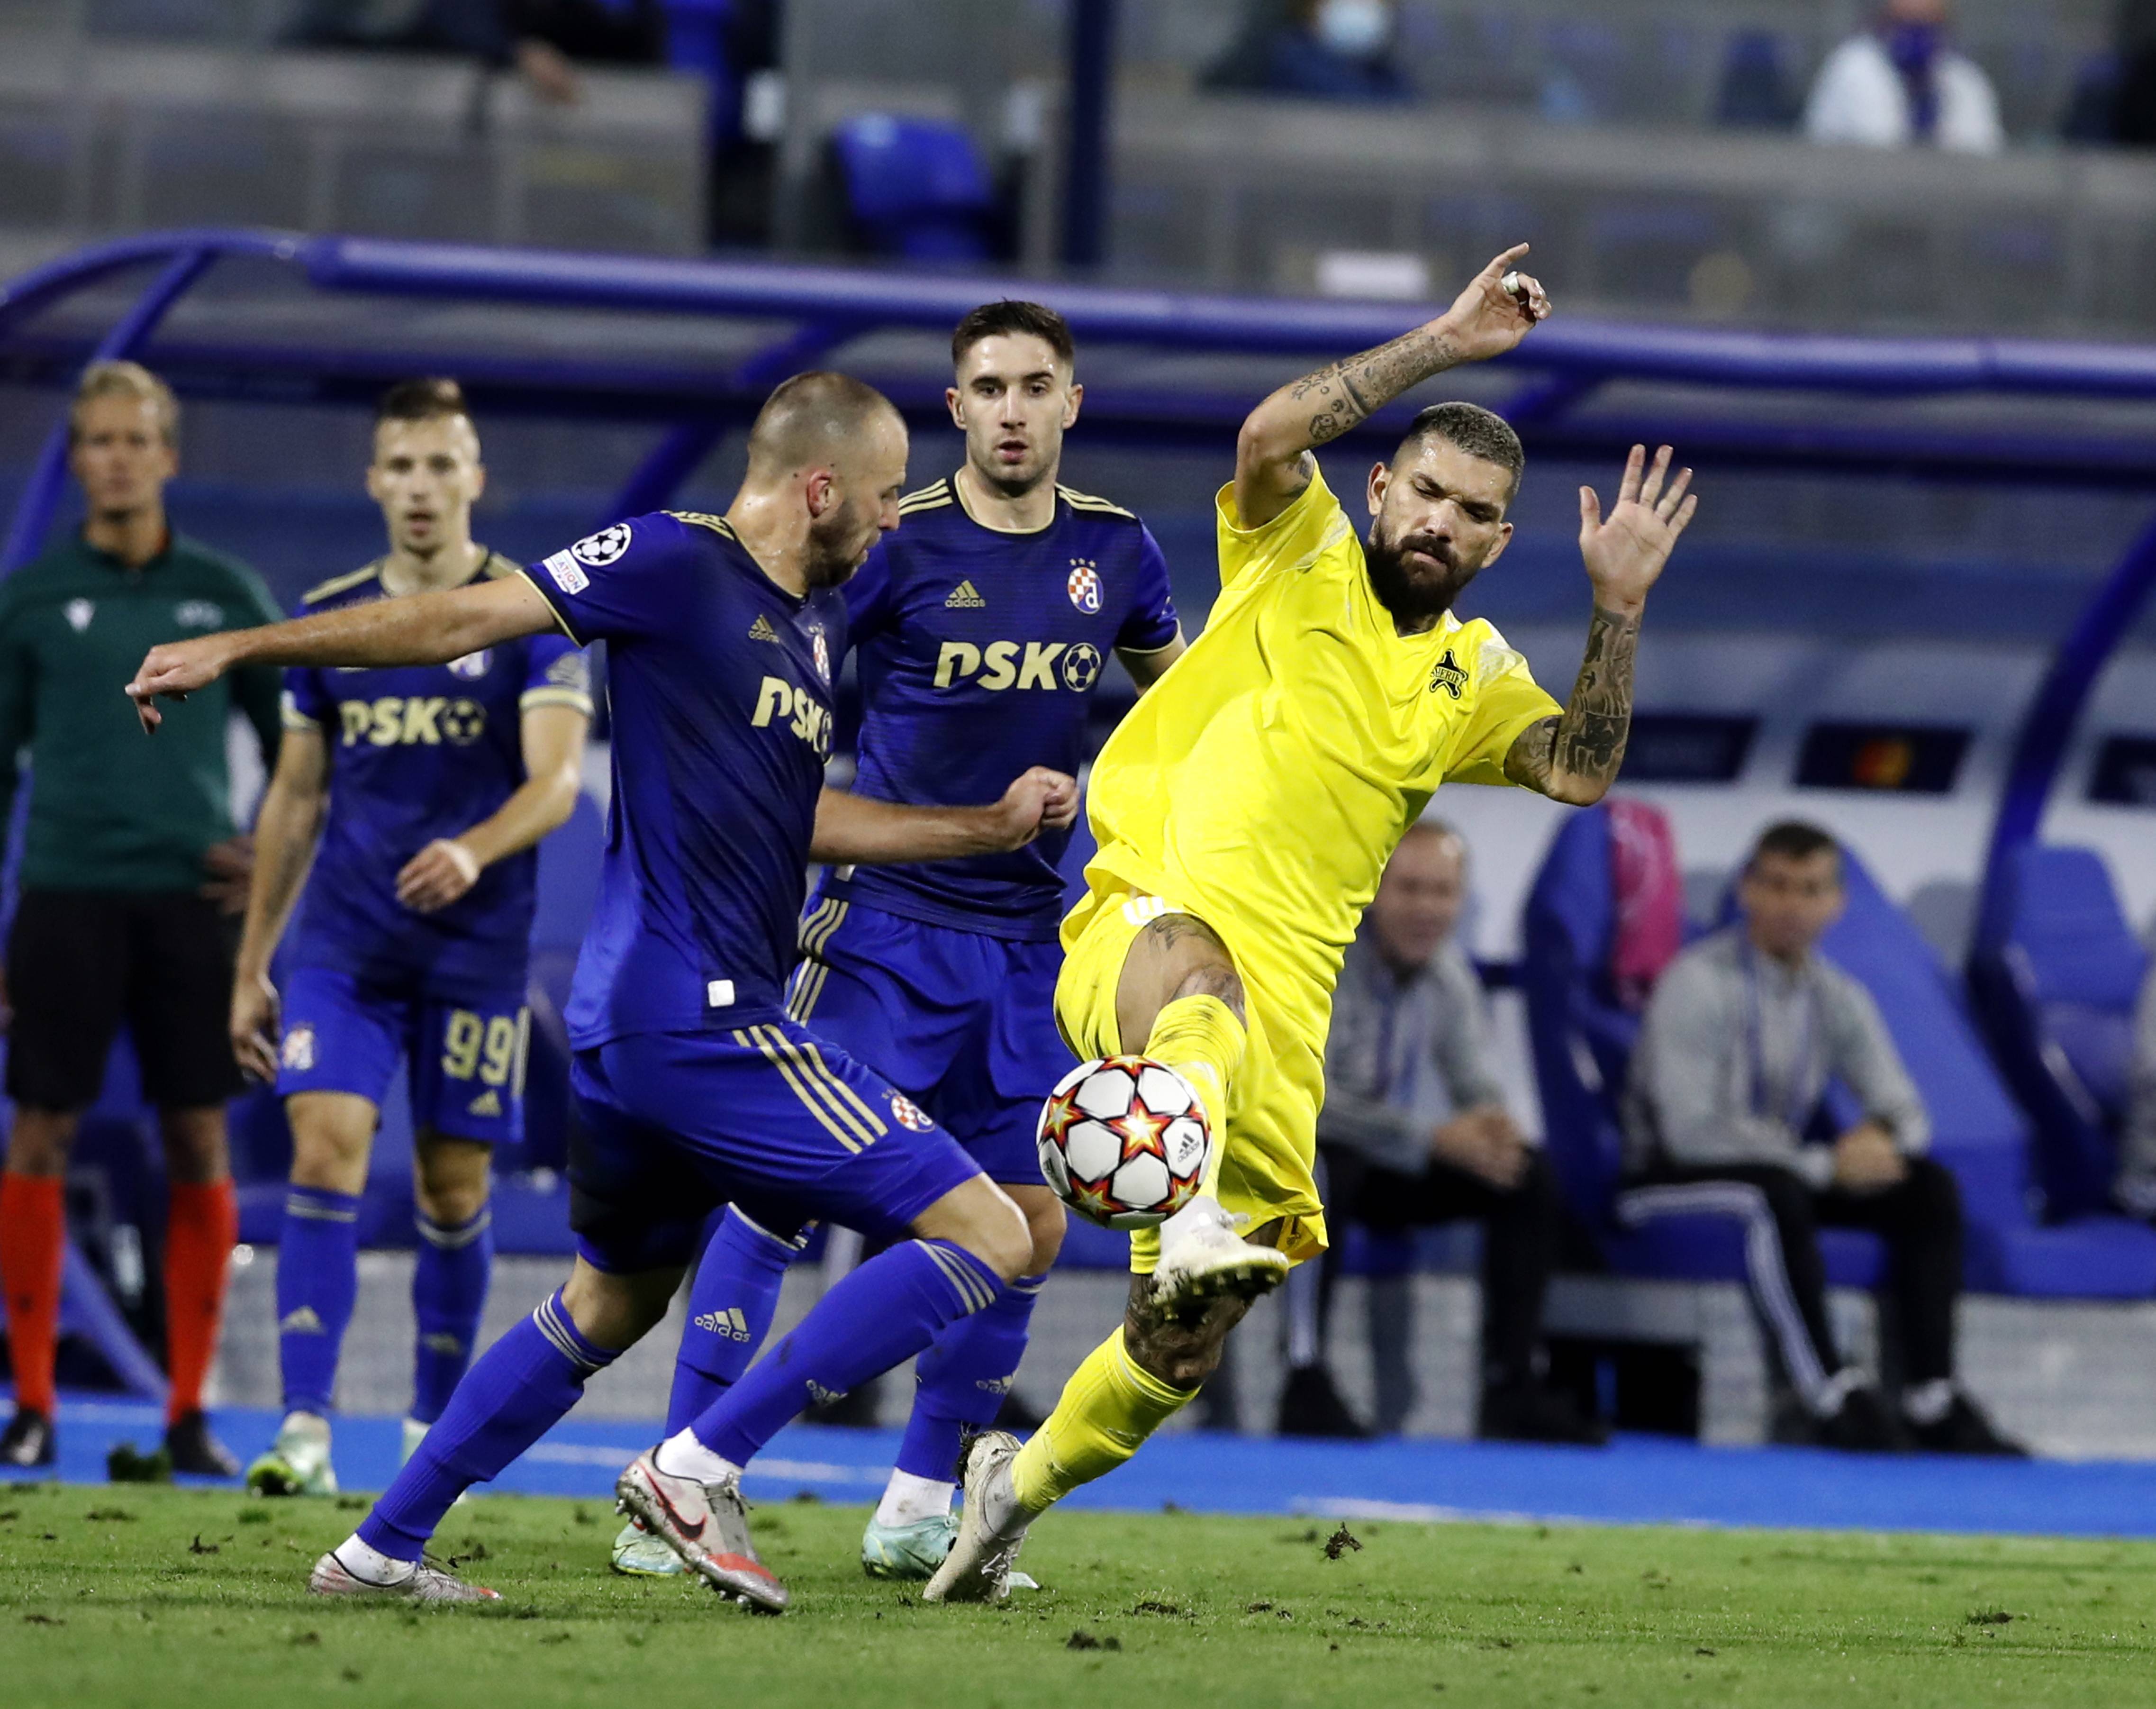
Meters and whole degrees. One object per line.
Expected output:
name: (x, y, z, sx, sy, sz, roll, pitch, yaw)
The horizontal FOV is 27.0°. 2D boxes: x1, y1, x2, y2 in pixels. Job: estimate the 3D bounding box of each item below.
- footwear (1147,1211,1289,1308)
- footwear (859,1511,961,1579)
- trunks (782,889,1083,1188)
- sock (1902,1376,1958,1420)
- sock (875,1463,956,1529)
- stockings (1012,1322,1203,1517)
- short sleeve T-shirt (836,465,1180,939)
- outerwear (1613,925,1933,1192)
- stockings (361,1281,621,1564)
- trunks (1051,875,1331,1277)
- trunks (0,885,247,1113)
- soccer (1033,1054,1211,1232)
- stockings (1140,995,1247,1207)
footwear: (0.378, 1.008, 11.487, 0.356, 0.227, 0.125, 20, -43, -28)
footwear: (-0.478, 1.932, 12.423, 0.201, 0.158, 0.164, 17, -16, -27)
trunks: (-0.419, 0.533, 12.312, 0.571, 0.576, 0.378, 23, -7, -24)
sock: (2.986, 1.929, 15.805, 0.182, 0.164, 0.055, 1, -10, 11)
sock: (-0.445, 1.792, 12.486, 0.159, 0.153, 0.147, 16, -16, 33)
stockings: (0.076, 1.520, 11.833, 0.243, 0.260, 0.795, 27, -51, -10)
short sleeve T-shirt: (-0.212, -0.400, 12.601, 1.124, 1.089, 0.434, 1, 4, -16)
outerwear: (2.506, 0.729, 16.136, 0.770, 1.076, 1.052, 10, -4, -25)
stockings: (-1.699, 1.670, 12.999, 0.200, 0.837, 0.223, 34, -11, 20)
trunks: (0.274, 0.536, 12.084, 0.623, 1.138, 0.369, -6, -9, -23)
trunks: (-3.098, 0.519, 14.641, 0.988, 0.984, 0.578, 2, -7, -25)
soccer: (0.100, 0.722, 11.628, 0.419, 0.483, 0.442, -9, 36, -18)
stockings: (0.286, 0.620, 11.553, 0.249, 0.589, 0.225, -13, -33, 22)
